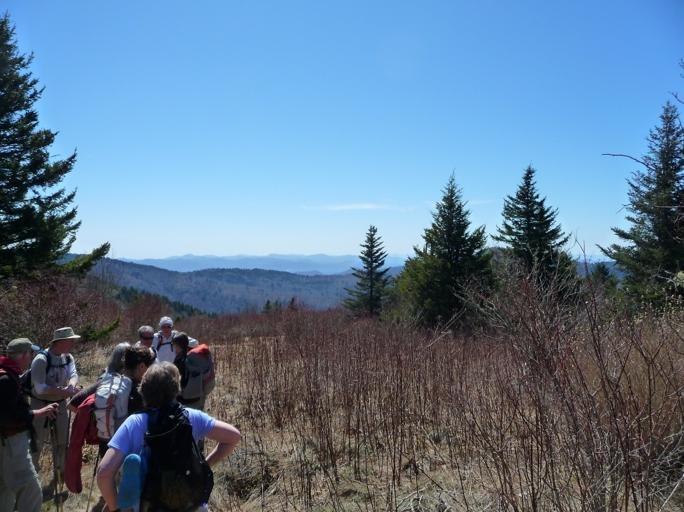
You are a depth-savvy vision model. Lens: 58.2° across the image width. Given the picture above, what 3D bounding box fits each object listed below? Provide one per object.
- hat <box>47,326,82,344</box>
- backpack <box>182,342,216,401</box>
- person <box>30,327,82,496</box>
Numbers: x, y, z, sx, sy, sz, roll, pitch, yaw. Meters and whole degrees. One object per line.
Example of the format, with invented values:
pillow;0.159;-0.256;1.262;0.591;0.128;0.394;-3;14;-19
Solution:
hat;-4.806;1.363;10.563;0.526;0.246;0.513;-7;-3;22
backpack;-2.584;2.098;11.109;0.444;1.013;0.685;8;11;16
person;-4.937;2.570;10.632;0.688;2.639;0.942;1;3;-37
